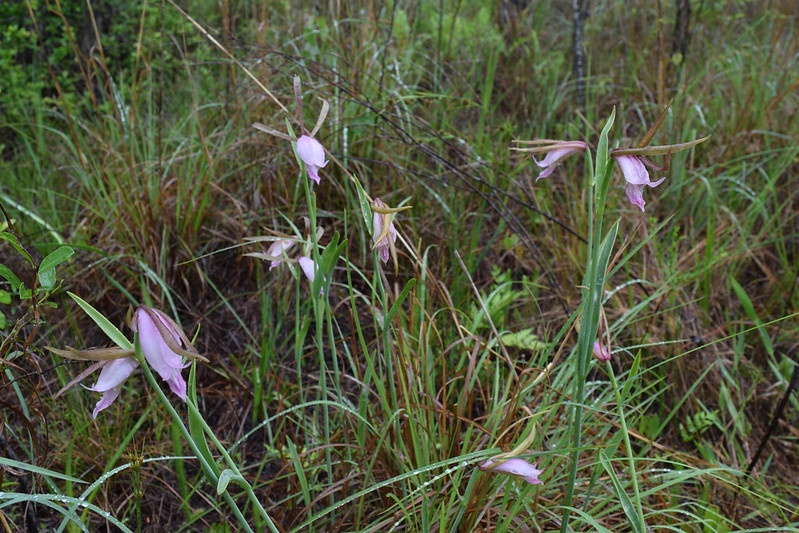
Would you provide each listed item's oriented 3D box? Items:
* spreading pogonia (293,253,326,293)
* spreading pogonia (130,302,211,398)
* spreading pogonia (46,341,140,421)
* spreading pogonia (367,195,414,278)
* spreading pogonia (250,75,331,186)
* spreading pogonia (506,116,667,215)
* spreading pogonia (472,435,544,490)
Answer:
[{"bbox_3d":[-0.396,0.050,3.021,0.055,0.202,0.106,-21,6,21],"label":"spreading pogonia"},{"bbox_3d":[-0.923,0.318,2.577,0.218,0.399,0.211,-32,-6,8],"label":"spreading pogonia"},{"bbox_3d":[-1.184,0.388,2.612,0.289,0.266,0.297,-13,1,-18],"label":"spreading pogonia"},{"bbox_3d":[-0.024,-0.137,2.995,0.187,0.342,0.138,-13,18,31],"label":"spreading pogonia"},{"bbox_3d":[-0.467,-0.643,2.913,0.313,0.424,0.391,6,33,-10],"label":"spreading pogonia"},{"bbox_3d":[0.830,-0.427,2.856,0.641,0.226,0.275,16,15,32],"label":"spreading pogonia"},{"bbox_3d":[0.468,0.819,2.782,0.344,0.135,0.305,-1,70,6],"label":"spreading pogonia"}]
